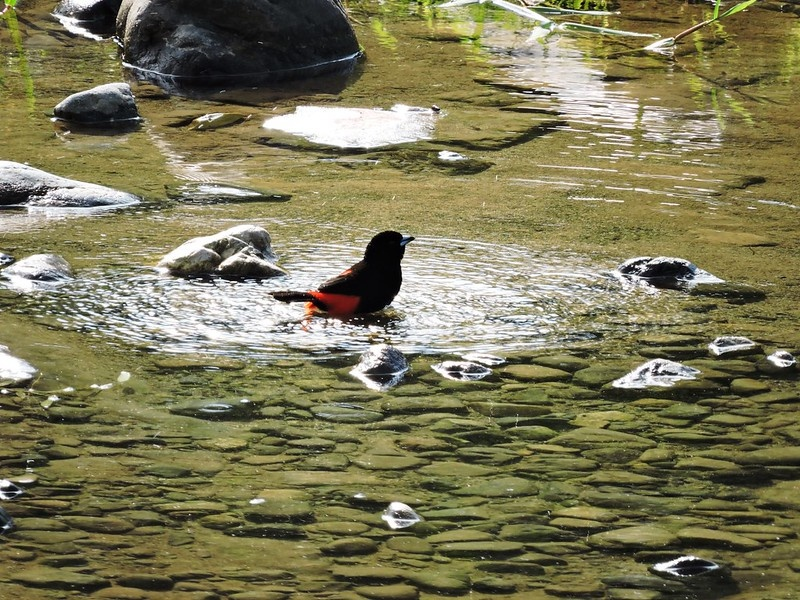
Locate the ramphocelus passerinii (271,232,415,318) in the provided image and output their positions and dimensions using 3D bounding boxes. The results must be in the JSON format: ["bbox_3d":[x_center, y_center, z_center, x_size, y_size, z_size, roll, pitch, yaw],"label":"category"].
[{"bbox_3d":[-0.292,-0.123,5.424,0.686,0.459,0.210,-2,30,-2],"label":"ramphocelus passerinii"}]
